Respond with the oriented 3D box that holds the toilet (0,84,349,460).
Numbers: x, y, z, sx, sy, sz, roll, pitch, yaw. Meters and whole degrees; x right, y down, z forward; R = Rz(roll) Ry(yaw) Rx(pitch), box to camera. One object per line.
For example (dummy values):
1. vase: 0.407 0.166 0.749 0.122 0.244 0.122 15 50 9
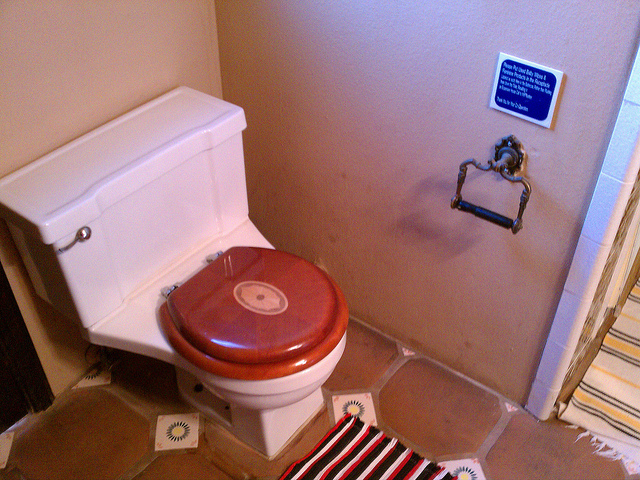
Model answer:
1. toilet: -0.358 0.024 1.520 0.958 0.573 0.605 18 41 15
